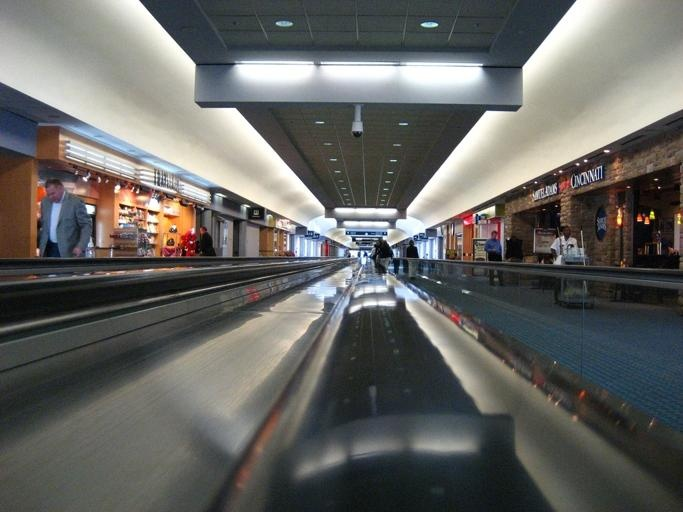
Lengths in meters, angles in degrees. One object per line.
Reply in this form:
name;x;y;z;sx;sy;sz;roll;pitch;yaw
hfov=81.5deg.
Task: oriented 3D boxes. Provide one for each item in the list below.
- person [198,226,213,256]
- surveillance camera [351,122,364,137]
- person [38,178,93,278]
person;-3.530;-0.392;10.284;0.360;0.703;1.380;6;2;-19
surveillance camera;0.311;-2.476;7.613;0.167;0.299;0.543;6;1;8
person;-3.206;-0.425;4.565;0.472;0.815;0.485;6;1;-37
